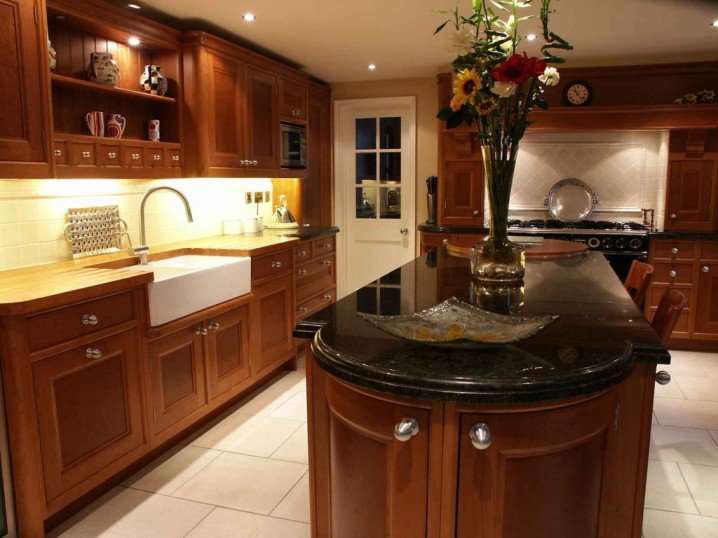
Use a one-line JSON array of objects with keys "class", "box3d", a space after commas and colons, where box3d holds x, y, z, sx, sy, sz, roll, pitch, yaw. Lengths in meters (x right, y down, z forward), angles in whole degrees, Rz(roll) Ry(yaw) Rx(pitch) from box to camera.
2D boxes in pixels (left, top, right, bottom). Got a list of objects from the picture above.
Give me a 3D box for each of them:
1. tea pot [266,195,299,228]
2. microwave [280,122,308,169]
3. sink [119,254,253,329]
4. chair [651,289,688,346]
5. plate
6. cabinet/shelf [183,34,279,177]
[{"class": "tea pot", "box3d": [-0.706, -0.551, 5.030, 0.331, 0.396, 0.378, 0, 1, -4]}, {"class": "microwave", "box3d": [-0.629, -1.169, 4.829, 0.261, 0.351, 0.462, 1, 8, 15]}, {"class": "sink", "box3d": [-1.156, 0.088, 3.256, 0.394, 0.213, 0.621, 7, 10, 23]}, {"class": "chair", "box3d": [1.421, 0.241, 2.376, 0.116, 0.274, 0.537, 7, 14, 30]}, {"class": "plate", "box3d": [0.320, 0.185, 1.719, 0.609, 0.119, 0.207, 3, 13, 12]}, {"class": "cabinet/shelf", "box3d": [-1.020, -1.274, 3.973, 0.247, 0.981, 1.082, 2, 7, 20]}]
